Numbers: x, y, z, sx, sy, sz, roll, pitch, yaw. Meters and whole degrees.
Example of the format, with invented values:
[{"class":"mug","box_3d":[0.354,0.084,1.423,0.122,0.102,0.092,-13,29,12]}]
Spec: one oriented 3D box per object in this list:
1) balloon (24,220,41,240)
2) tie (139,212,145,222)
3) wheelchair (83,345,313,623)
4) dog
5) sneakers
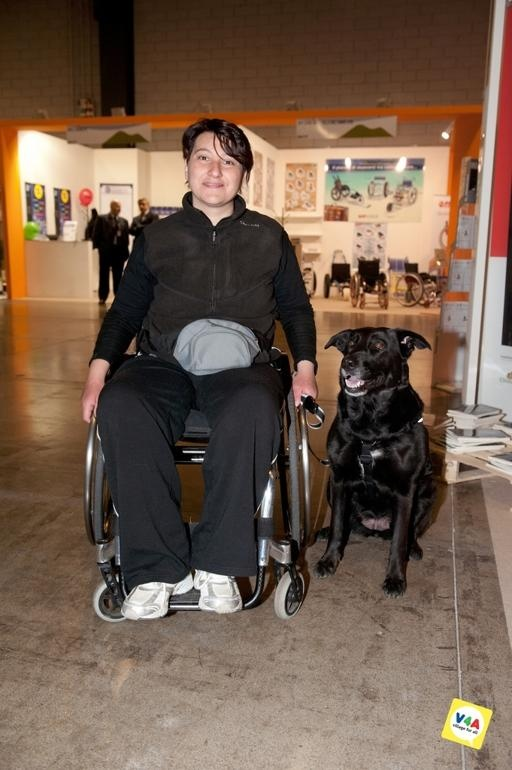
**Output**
[{"class":"balloon","box_3d":[-4.936,-3.399,12.712,0.263,0.417,0.441,3,7,16]},{"class":"tie","box_3d":[-2.154,-3.181,10.778,0.101,0.138,0.038,5,-6,20]},{"class":"wheelchair","box_3d":[-0.139,0.273,1.606,0.597,0.733,0.561,1,7,-1]},{"class":"dog","box_3d":[0.378,0.209,1.841,0.326,0.784,0.412,4,8,20]},{"class":"sneakers","box_3d":[-0.177,0.511,1.461,0.358,0.156,0.125,1,0,-11]}]
